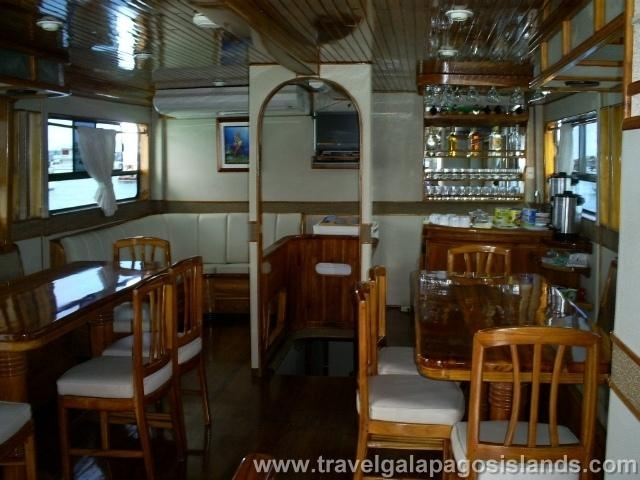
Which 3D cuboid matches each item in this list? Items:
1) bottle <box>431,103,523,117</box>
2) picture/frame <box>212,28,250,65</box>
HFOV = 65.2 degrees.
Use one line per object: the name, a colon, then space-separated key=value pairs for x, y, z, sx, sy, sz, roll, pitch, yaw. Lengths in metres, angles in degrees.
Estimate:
bottle: x=1.988 y=-1.657 z=6.407 sx=1.228 sy=0.143 sz=0.158 roll=1 pitch=9 yaw=5
picture/frame: x=-0.771 y=-1.705 z=4.438 sx=0.304 sy=0.067 sz=0.300 roll=-1 pitch=4 yaw=-14
